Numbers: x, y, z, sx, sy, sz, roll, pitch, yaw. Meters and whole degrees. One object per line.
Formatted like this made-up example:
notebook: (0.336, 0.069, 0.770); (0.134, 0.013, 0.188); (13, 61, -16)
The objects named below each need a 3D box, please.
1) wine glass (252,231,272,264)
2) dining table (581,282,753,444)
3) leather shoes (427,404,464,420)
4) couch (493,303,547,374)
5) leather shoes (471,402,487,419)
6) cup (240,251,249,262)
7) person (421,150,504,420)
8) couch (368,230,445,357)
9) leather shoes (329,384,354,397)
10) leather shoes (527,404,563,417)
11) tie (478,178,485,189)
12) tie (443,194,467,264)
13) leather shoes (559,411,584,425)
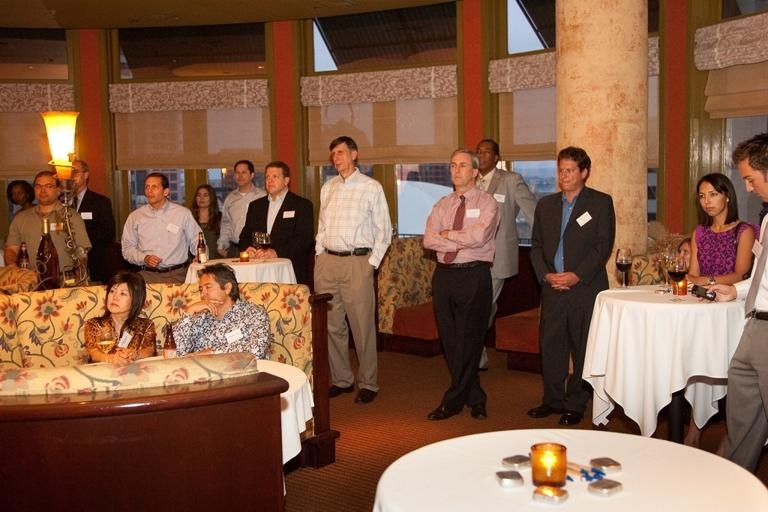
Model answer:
wine glass: (-1.133, -0.128, 5.544); (0.159, 0.254, 0.158); (-3, 9, -16)
dining table: (1.692, 0.648, 3.819); (0.849, 0.818, 0.873); (-1, 4, -30)
leather shoes: (0.475, 1.199, 4.670); (0.293, 0.125, 0.111); (2, -2, -20)
couch: (1.358, 0.767, 5.932); (0.468, 0.381, 0.748); (-1, -1, 38)
leather shoes: (0.739, 1.211, 4.680); (0.063, 0.113, 0.154); (-1, 5, -17)
cup: (-1.252, 0.005, 5.361); (0.075, 0.089, 0.077); (1, 13, 0)
person: (0.601, 0.231, 4.607); (0.566, 2.070, 0.365); (0, 7, 11)
couch: (0.493, 0.508, 6.909); (0.689, 1.185, 1.234); (7, -1, 25)
leather shoes: (-0.342, 1.154, 5.196); (0.297, 0.130, 0.109); (6, -8, -39)
leather shoes: (1.286, 1.209, 4.689); (0.305, 0.127, 0.107); (5, -2, -10)
tie: (0.944, -0.696, 5.765); (0.055, 0.097, 0.088); (-14, 18, 0)
tie: (0.569, -0.237, 4.555); (0.131, 0.569, 0.045); (10, -8, 39)
leather shoes: (1.401, 1.215, 4.488); (0.163, 0.072, 0.081); (8, -11, -43)
